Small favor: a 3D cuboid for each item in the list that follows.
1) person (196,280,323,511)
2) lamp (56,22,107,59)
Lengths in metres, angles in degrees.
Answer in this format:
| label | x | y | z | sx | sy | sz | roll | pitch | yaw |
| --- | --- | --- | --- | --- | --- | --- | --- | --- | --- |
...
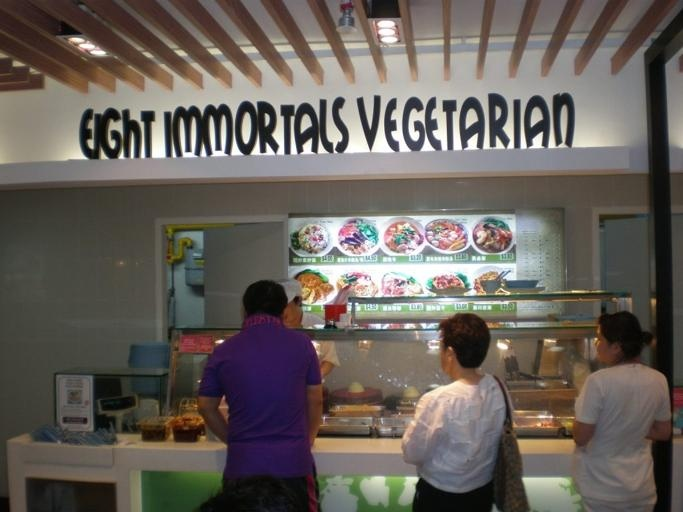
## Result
| label | x | y | z | sx | sy | sz | roll | pitch | yaw |
| --- | --- | --- | --- | --- | --- | --- | --- | --- | --- |
| person | -0.453 | 0.795 | 3.375 | 0.680 | 1.317 | 0.306 | -1 | -3 | -3 |
| lamp | -1.978 | -1.701 | 4.802 | 0.259 | 0.189 | 0.431 | -3 | -3 | 24 |
